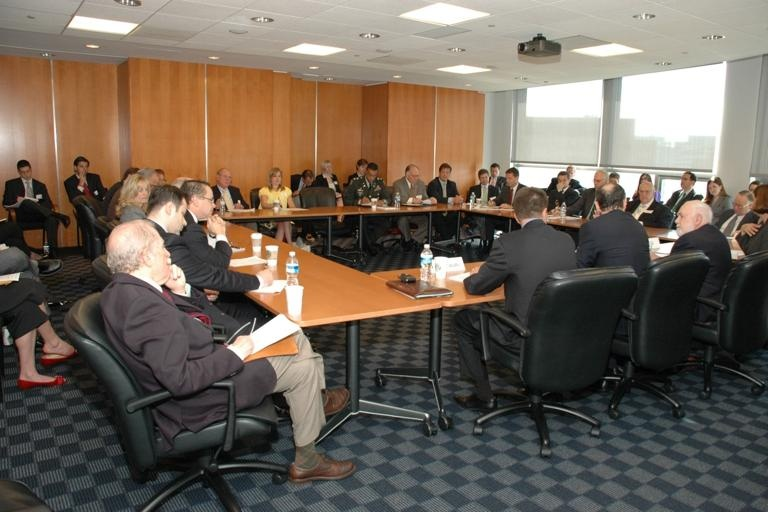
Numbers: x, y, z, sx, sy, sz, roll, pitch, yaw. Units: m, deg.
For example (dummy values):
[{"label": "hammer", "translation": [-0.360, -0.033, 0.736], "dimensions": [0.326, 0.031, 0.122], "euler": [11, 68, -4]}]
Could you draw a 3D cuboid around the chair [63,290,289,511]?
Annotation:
[{"label": "chair", "translation": [-1.221, 0.806, 3.765], "dimensions": [1.491, 1.450, 1.333], "euler": [-8, 13, -23]}]

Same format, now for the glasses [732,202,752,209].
[{"label": "glasses", "translation": [4.501, -0.625, 6.626], "dimensions": [0.122, 0.047, 0.098], "euler": [-1, 15, -9]}]

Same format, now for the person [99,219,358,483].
[{"label": "person", "translation": [-0.984, 0.670, 3.520], "dimensions": [1.607, 1.742, 0.890], "euler": [-4, 8, -35]}]

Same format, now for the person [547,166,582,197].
[{"label": "person", "translation": [3.662, -1.522, 10.536], "dimensions": [0.631, 0.752, 0.356], "euler": [-7, -33, 40]}]

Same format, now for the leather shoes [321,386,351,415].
[{"label": "leather shoes", "translation": [-0.376, 1.107, 4.025], "dimensions": [0.250, 0.101, 0.132], "euler": [-20, 26, -31]}]

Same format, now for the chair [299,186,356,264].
[{"label": "chair", "translation": [-1.072, -0.567, 8.652], "dimensions": [1.122, 1.009, 0.968], "euler": [-13, 18, -36]}]

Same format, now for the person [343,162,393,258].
[{"label": "person", "translation": [-0.273, -0.857, 9.720], "dimensions": [0.812, 1.544, 0.886], "euler": [-4, 11, -21]}]

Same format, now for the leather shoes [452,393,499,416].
[{"label": "leather shoes", "translation": [0.741, 1.184, 4.285], "dimensions": [0.244, 0.087, 0.163], "euler": [7, 8, 35]}]

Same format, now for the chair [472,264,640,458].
[{"label": "chair", "translation": [1.172, 0.725, 4.062], "dimensions": [1.048, 1.242, 1.167], "euler": [0, 3, -16]}]

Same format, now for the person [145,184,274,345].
[{"label": "person", "translation": [-1.412, 0.106, 4.343], "dimensions": [0.961, 1.516, 0.640], "euler": [5, 35, -26]}]

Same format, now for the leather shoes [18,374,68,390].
[{"label": "leather shoes", "translation": [-2.909, 1.085, 4.539], "dimensions": [0.403, 0.096, 0.133], "euler": [-4, 10, -28]}]

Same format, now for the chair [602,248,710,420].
[{"label": "chair", "translation": [2.058, 0.613, 4.317], "dimensions": [0.954, 1.191, 0.889], "euler": [2, 4, 34]}]

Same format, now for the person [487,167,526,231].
[{"label": "person", "translation": [2.230, -0.929, 9.568], "dimensions": [0.804, 1.238, 0.577], "euler": [-13, 18, -29]}]

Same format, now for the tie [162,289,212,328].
[{"label": "tie", "translation": [-1.287, 0.269, 3.381], "dimensions": [0.308, 0.108, 0.216], "euler": [1, 49, -29]}]

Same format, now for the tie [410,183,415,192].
[{"label": "tie", "translation": [0.523, -1.278, 9.879], "dimensions": [0.104, 0.128, 0.037], "euler": [2, -3, -15]}]
